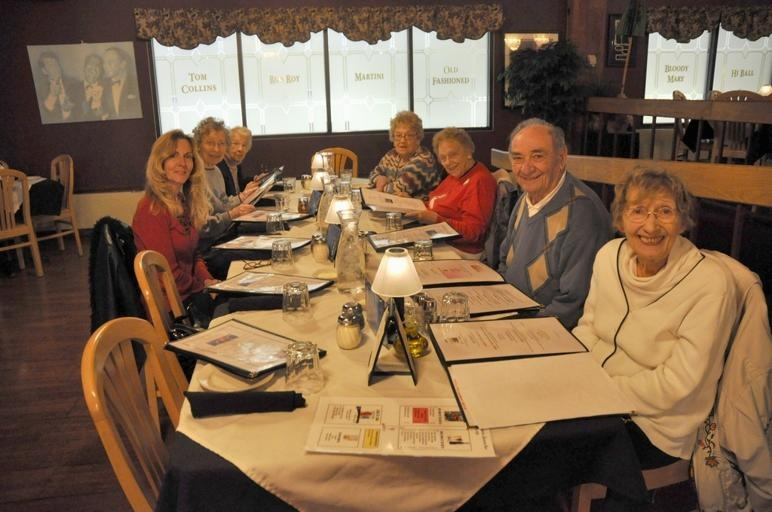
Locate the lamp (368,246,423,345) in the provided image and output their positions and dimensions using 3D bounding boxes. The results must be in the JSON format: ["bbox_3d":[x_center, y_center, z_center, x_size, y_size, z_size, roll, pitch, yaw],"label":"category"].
[{"bbox_3d":[0.034,0.149,2.241,0.284,0.436,0.274,-4,24,-4],"label":"lamp"}]

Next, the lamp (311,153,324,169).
[{"bbox_3d":[-0.615,-0.867,4.931,0.121,0.141,0.326,-5,13,-8],"label":"lamp"}]

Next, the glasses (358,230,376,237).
[{"bbox_3d":[-0.111,-0.135,3.264,0.043,0.036,0.150,-21,-17,36],"label":"glasses"}]

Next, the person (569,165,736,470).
[{"bbox_3d":[1.088,0.247,2.535,0.766,1.269,0.853,-10,17,-38],"label":"person"}]

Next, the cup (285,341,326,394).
[{"bbox_3d":[-0.312,0.455,2.230,0.174,0.187,0.189,2,16,0],"label":"cup"}]

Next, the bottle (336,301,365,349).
[{"bbox_3d":[-0.150,0.320,2.423,0.118,0.193,0.185,2,16,2],"label":"bottle"}]

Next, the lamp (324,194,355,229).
[{"bbox_3d":[-0.284,-0.275,3.244,0.170,0.140,0.185,2,8,2],"label":"lamp"}]

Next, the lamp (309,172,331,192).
[{"bbox_3d":[-0.536,-0.610,4.451,0.183,0.171,0.152,1,5,3],"label":"lamp"}]

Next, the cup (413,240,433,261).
[{"bbox_3d":[0.218,-0.035,3.121,0.111,0.103,0.107,-1,8,0],"label":"cup"}]

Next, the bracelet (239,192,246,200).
[{"bbox_3d":[-1.247,-0.530,4.700,0.067,0.052,0.069,11,8,0],"label":"bracelet"}]

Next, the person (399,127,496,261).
[{"bbox_3d":[0.520,-0.519,4.189,0.653,0.958,0.774,-8,19,-14],"label":"person"}]

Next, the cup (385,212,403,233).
[{"bbox_3d":[0.056,-0.239,3.783,0.135,0.150,0.128,-1,5,0],"label":"cup"}]

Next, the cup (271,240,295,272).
[{"bbox_3d":[-0.602,0.001,3.145,0.160,0.181,0.158,-1,11,0],"label":"cup"}]

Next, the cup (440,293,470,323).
[{"bbox_3d":[0.326,0.241,2.568,0.130,0.126,0.130,-1,0,0],"label":"cup"}]
